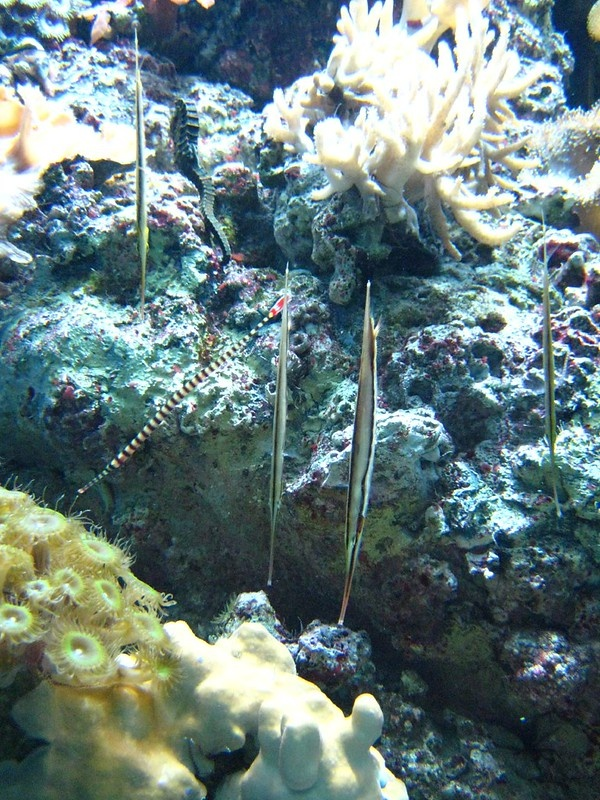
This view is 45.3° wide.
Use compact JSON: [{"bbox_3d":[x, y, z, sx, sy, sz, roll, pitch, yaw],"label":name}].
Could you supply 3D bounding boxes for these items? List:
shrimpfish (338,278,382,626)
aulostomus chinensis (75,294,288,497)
[{"bbox_3d":[0.237,0.258,2.845,0.093,1.409,0.260,7,10,6],"label":"shrimpfish"},{"bbox_3d":[-0.804,0.000,4.684,0.087,1.757,0.196,43,6,-12],"label":"aulostomus chinensis"}]
